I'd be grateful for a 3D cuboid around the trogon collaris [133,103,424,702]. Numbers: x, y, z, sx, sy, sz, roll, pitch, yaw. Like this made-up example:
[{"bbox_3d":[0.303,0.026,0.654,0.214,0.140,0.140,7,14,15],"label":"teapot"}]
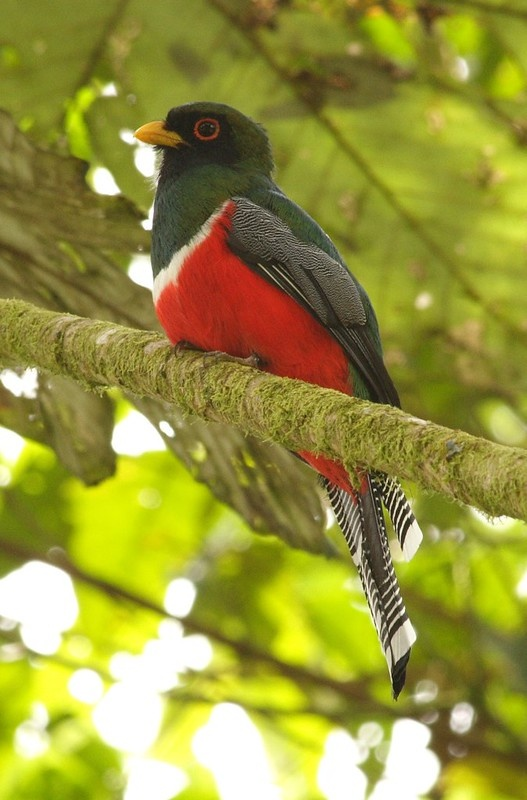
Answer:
[{"bbox_3d":[0.071,-0.185,3.520,1.494,2.265,0.678,16,-31,-19],"label":"trogon collaris"}]
